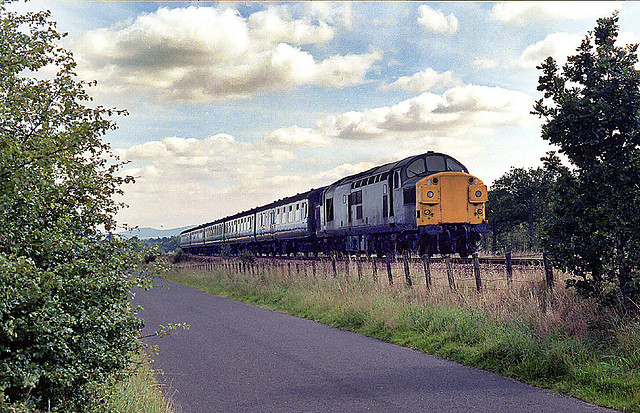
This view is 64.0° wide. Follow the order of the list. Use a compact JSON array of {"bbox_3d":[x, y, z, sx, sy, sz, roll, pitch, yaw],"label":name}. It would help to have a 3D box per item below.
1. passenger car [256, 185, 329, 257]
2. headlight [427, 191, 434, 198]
[{"bbox_3d":[-2.409,1.478,39.676,1.034,4.428,13.880,-4,0,-23],"label":"passenger car"},{"bbox_3d":[4.784,-0.532,21.888,0.279,0.195,0.041,-4,2,-17],"label":"headlight"}]
